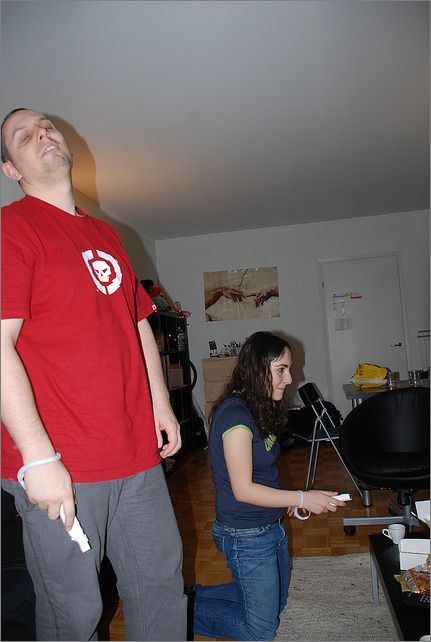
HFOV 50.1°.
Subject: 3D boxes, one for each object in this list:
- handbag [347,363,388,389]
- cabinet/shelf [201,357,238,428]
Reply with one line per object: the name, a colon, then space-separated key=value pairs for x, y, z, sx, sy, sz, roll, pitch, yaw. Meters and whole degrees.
handbag: x=1.413 y=0.475 z=4.157 sx=0.231 sy=0.097 sz=0.236 roll=-23 pitch=9 yaw=-38
cabinet/shelf: x=0.130 y=0.954 z=6.231 sx=0.521 sy=0.829 sz=0.451 roll=0 pitch=8 yaw=12
